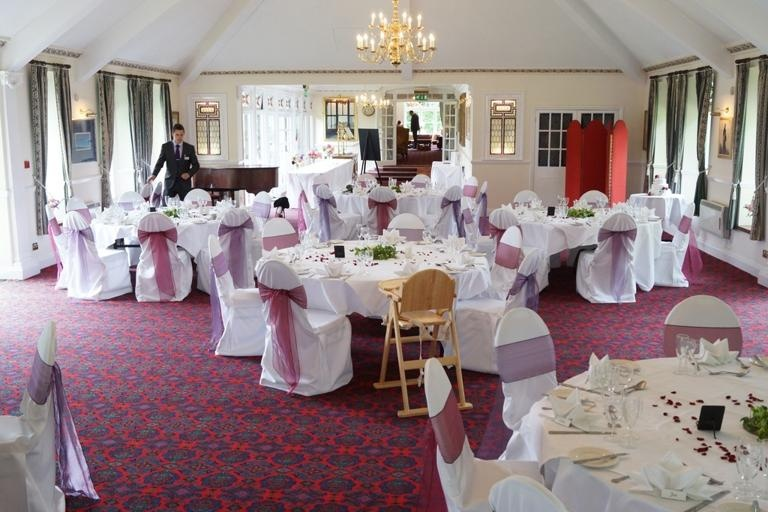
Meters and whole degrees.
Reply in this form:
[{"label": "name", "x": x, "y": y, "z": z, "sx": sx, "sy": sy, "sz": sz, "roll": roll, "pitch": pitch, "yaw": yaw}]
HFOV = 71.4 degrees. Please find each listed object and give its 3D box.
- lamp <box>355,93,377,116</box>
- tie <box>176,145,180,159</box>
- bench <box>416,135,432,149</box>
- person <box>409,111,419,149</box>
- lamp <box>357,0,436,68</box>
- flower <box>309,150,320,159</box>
[{"label": "lamp", "x": -0.655, "y": -5.863, "z": 20.694, "sx": 0.872, "sy": 1.035, "sz": 0.941, "roll": 0, "pitch": 29, "yaw": -5}, {"label": "tie", "x": -3.731, "y": -1.893, "z": 9.642, "sx": 0.090, "sy": 0.227, "sz": 0.048, "roll": -2, "pitch": 9, "yaw": -7}, {"label": "bench", "x": 1.984, "y": -5.791, "z": 26.980, "sx": 0.639, "sy": 0.686, "sz": 1.005, "roll": 0, "pitch": 25, "yaw": 1}, {"label": "person", "x": 1.496, "y": -6.248, "z": 26.381, "sx": 0.294, "sy": 1.760, "sz": 0.853, "roll": 0, "pitch": 10, "yaw": 7}, {"label": "lamp", "x": 0.280, "y": -4.864, "z": 11.495, "sx": 1.478, "sy": 1.939, "sz": 1.607, "roll": 6, "pitch": 34, "yaw": 9}, {"label": "flower", "x": -2.459, "y": -3.513, "z": 18.420, "sx": 0.325, "sy": 0.400, "sz": 0.373, "roll": 2, "pitch": 15, "yaw": 12}]
